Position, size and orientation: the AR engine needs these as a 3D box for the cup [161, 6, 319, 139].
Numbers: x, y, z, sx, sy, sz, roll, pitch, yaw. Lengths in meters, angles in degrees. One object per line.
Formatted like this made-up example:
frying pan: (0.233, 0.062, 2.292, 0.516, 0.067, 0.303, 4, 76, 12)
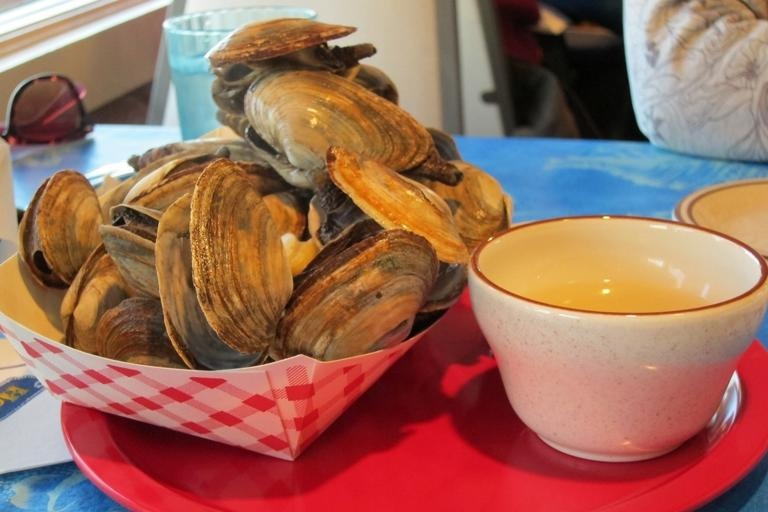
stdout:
cup: (-0.227, -0.297, 1.005, 0.224, 0.188, 0.315, -11, 23, -15)
